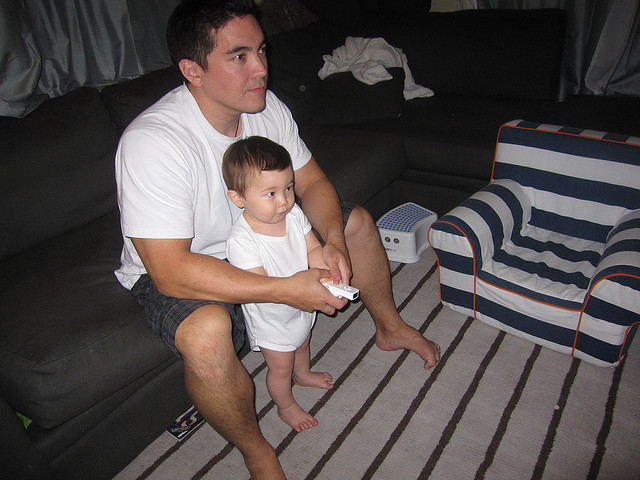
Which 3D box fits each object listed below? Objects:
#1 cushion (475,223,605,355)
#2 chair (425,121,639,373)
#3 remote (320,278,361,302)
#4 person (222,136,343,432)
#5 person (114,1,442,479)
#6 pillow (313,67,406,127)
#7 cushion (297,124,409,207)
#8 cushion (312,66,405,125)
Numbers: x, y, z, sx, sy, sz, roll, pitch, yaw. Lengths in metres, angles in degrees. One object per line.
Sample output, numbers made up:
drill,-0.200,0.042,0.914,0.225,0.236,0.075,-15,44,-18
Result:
cushion,1.002,0.137,2.057,0.532,0.349,0.538,13,51,34
chair,1.078,-0.009,2.102,0.858,0.837,0.662,18,38,31
remote,0.081,0.168,1.593,0.112,0.034,0.065,22,17,18
person,-0.086,0.214,1.769,0.458,1.209,0.417,8,31,23
person,-0.241,-0.030,1.733,0.939,1.544,0.878,-28,39,-33
pillow,0.257,-0.892,2.828,0.480,0.149,0.349,1,72,7
cushion,0.209,-0.449,2.501,0.578,0.138,0.544,15,38,18
cushion,0.245,-0.882,2.860,0.467,0.114,0.349,1,74,11
